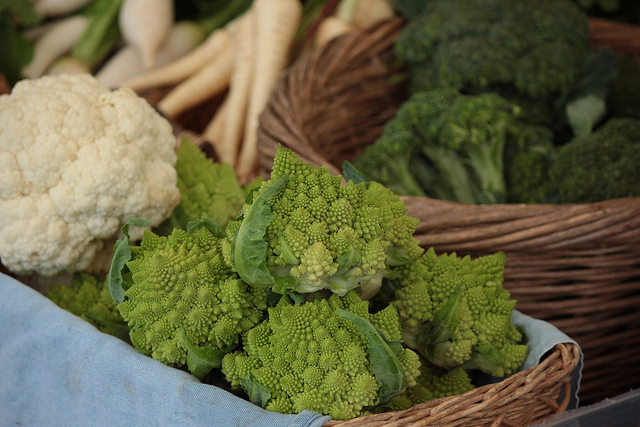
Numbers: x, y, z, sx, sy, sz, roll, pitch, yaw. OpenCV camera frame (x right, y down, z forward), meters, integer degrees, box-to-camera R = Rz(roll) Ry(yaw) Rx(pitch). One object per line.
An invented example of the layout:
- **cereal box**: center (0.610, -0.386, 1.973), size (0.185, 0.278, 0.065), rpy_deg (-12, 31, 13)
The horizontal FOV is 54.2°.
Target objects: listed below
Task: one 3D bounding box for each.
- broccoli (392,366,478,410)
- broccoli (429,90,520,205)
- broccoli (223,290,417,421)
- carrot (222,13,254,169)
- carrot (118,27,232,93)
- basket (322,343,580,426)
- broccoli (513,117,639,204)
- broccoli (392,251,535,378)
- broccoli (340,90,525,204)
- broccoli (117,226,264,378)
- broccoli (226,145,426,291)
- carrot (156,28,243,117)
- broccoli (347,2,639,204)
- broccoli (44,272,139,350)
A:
- **broccoli**: center (0.312, 0.430, 1.642), size (0.155, 0.069, 0.160), rpy_deg (16, 26, 33)
- **broccoli**: center (0.492, -0.222, 1.950), size (0.199, 0.227, 0.204), rpy_deg (-28, 54, 1)
- **broccoli**: center (0.008, 0.328, 1.569), size (0.354, 0.179, 0.364), rpy_deg (-8, 21, -10)
- **carrot**: center (-0.283, -0.415, 2.159), size (0.078, 0.625, 0.084), rpy_deg (10, 9, 25)
- **carrot**: center (-0.496, -0.520, 2.071), size (0.357, 0.083, 0.087), rpy_deg (-29, 90, -8)
- **basket**: center (0.435, 0.458, 1.573), size (0.324, 0.317, 0.128), rpy_deg (-11, 83, -35)
- **broccoli**: center (0.775, -0.138, 1.858), size (0.266, 0.078, 0.298), rpy_deg (-31, 63, 15)
- **broccoli**: center (0.369, 0.277, 1.716), size (0.322, 0.227, 0.374), rpy_deg (-23, 55, -6)
- **broccoli**: center (0.357, -0.158, 1.977), size (0.415, 0.424, 0.294), rpy_deg (15, 83, 6)
- **broccoli**: center (-0.361, 0.268, 1.776), size (0.377, 0.246, 0.382), rpy_deg (-42, 82, -11)
- **broccoli**: center (0.008, 0.027, 1.624), size (0.415, 0.205, 0.398), rpy_deg (-16, 27, -23)
- **carrot**: center (-0.408, -0.493, 2.090), size (0.351, 0.087, 0.094), rpy_deg (-40, 35, 14)
- **broccoli**: center (0.596, -0.333, 1.977), size (0.815, 0.582, 0.446), rpy_deg (19, 46, 8)
- **broccoli**: center (-0.679, 0.269, 1.882), size (0.262, 0.139, 0.263), rpy_deg (32, 25, 28)
